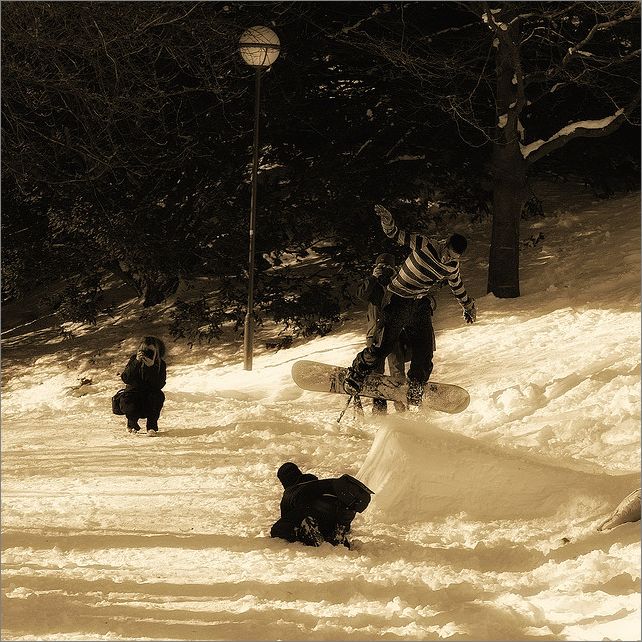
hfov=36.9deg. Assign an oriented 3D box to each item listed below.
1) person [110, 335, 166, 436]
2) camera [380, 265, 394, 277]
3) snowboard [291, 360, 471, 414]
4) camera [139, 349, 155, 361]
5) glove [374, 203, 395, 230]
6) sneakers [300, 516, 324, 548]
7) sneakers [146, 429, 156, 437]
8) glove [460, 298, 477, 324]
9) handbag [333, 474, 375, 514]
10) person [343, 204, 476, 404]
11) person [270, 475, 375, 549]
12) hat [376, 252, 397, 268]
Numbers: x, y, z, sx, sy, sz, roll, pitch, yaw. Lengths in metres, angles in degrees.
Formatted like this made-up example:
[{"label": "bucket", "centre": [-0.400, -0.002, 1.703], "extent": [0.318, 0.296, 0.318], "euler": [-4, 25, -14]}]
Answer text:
[{"label": "person", "centre": [-2.070, 0.734, 11.018], "extent": [0.620, 1.109, 0.645], "euler": [-4, 11, -11]}, {"label": "camera", "centre": [0.753, -0.547, 10.736], "extent": [0.132, 0.126, 0.121], "euler": [9, 8, -12]}, {"label": "snowboard", "centre": [0.728, 0.782, 11.181], "extent": [2.018, 0.402, 0.291], "euler": [10, 18, 25]}, {"label": "camera", "centre": [-1.956, 0.385, 10.892], "extent": [0.148, 0.138, 0.078], "euler": [-3, 11, -9]}, {"label": "glove", "centre": [0.703, -1.153, 10.603], "extent": [0.185, 0.310, 0.088], "euler": [-41, -24, 13]}, {"label": "sneakers", "centre": [-0.074, 1.626, 7.415], "extent": [0.183, 0.215, 0.067], "euler": [-2, 11, 0]}, {"label": "sneakers", "centre": [-1.898, 1.269, 10.826], "extent": [0.148, 0.048, 0.101], "euler": [-13, 8, -27]}, {"label": "glove", "centre": [1.688, -0.070, 10.833], "extent": [0.143, 0.121, 0.390], "euler": [1, -16, 7]}, {"label": "handbag", "centre": [0.252, 1.340, 7.460], "extent": [0.301, 0.147, 0.242], "euler": [29, -17, 27]}, {"label": "person", "centre": [1.078, -0.164, 10.521], "extent": [1.525, 2.173, 0.726], "euler": [6, 13, 37]}, {"label": "person", "centre": [0.009, 1.454, 7.476], "extent": [0.795, 0.363, 0.463], "euler": [-13, 48, -2]}, {"label": "hat", "centre": [0.737, -0.685, 10.846], "extent": [0.178, 0.167, 0.179], "euler": [2, -4, 24]}]
